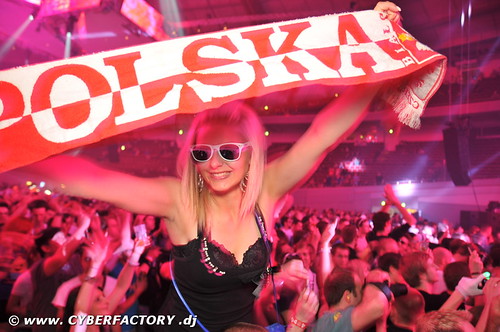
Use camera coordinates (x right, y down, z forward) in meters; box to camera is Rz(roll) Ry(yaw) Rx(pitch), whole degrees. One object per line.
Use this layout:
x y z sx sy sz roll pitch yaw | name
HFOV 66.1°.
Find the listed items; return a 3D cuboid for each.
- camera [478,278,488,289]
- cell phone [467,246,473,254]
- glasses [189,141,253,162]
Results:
2.301 1.167 3.808 0.040 0.112 0.084 23 19 1 | camera
2.940 1.124 5.136 0.027 0.050 0.291 29 -8 26 | cell phone
-0.239 -0.120 3.118 0.495 0.188 0.079 1 -23 -2 | glasses
